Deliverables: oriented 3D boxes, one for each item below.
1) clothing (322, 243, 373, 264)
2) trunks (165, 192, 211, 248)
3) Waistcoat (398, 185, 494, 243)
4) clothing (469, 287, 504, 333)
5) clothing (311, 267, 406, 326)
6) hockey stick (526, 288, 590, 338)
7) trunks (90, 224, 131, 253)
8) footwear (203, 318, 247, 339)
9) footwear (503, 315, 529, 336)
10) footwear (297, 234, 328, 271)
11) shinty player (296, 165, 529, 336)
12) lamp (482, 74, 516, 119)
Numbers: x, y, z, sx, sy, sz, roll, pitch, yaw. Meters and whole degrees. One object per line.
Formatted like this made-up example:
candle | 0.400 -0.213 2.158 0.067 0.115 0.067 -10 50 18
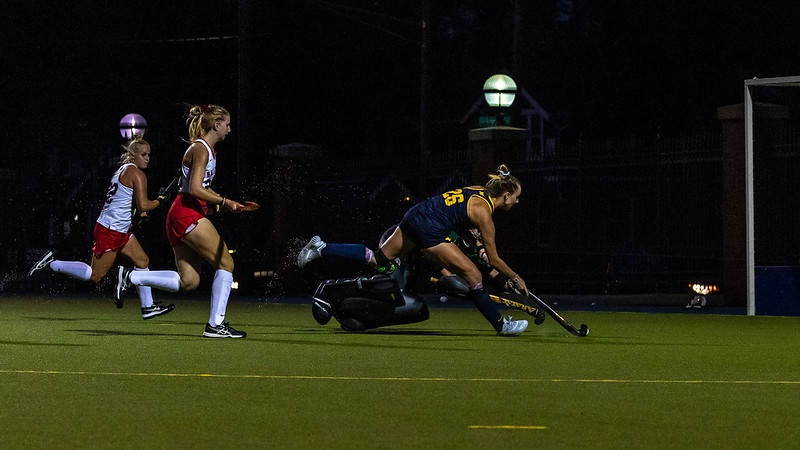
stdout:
clothing | -0.717 0.371 10.651 0.545 0.146 0.299 9 3 4
trunks | -2.757 -0.118 10.029 0.473 0.694 0.786 -2 3 -21
Waistcoat | 0.631 -0.051 10.228 1.091 0.408 0.653 -17 40 -3
clothing | 1.193 1.120 10.280 0.823 0.201 0.245 47 -21 -30
clothing | -0.513 0.947 10.300 0.985 0.458 0.744 -2 -4 -3
hockey stick | 2.673 1.492 13.051 1.124 0.258 0.120 34 -45 -5
trunks | -4.149 0.202 11.270 0.648 0.453 0.392 0 4 21
footwear | -2.263 1.365 10.088 0.648 0.247 0.221 1 -4 -2
footwear | 1.468 1.359 10.437 0.476 0.162 0.224 -9 -33 26
footwear | -1.198 0.303 10.750 0.241 0.267 0.590 25 25 -16
shinty player | 0.277 0.262 10.439 3.292 1.891 0.887 8 10 -3
lamp | 2.114 -2.772 16.373 0.619 1.001 0.777 1 -3 7
